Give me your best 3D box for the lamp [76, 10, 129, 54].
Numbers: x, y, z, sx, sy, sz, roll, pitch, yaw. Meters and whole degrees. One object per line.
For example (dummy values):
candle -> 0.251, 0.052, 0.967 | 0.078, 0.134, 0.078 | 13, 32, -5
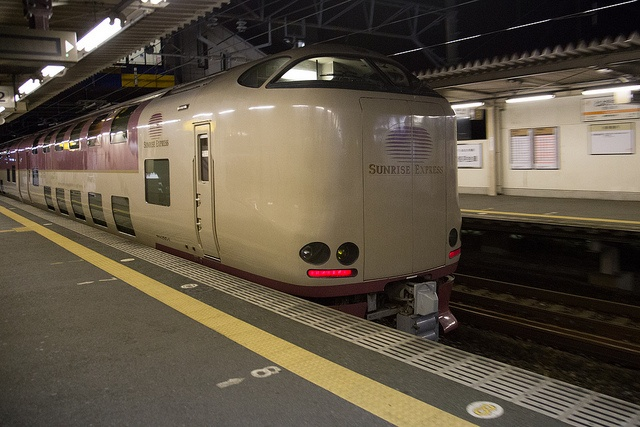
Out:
lamp -> -3.675, -3.291, 7.038 | 0.370, 0.099, 1.312 | 17, -26, -42
